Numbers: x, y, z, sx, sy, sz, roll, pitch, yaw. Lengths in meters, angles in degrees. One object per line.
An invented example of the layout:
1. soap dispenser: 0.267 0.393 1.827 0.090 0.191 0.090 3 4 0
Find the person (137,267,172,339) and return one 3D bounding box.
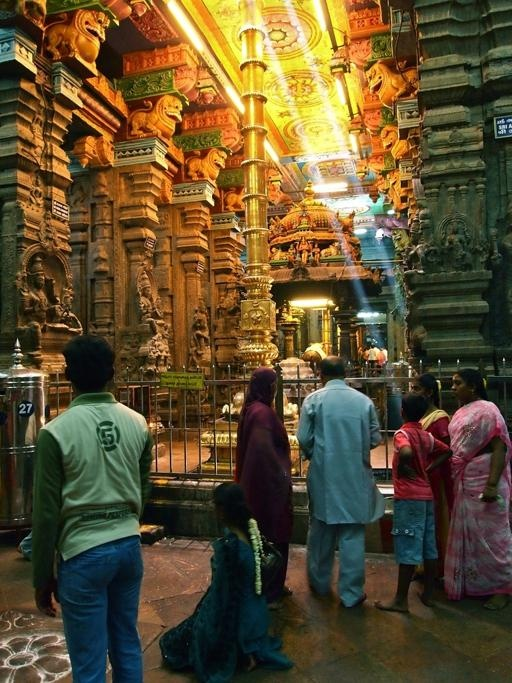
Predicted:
1. person: -1.498 -0.554 8.745 0.340 1.044 0.608 -2 4 2

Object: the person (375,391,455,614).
1. person: 0.991 0.988 3.826 0.301 1.299 0.515 2 6 36

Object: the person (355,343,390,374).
1. person: 2.266 0.311 11.989 0.619 0.730 0.624 2 8 8
